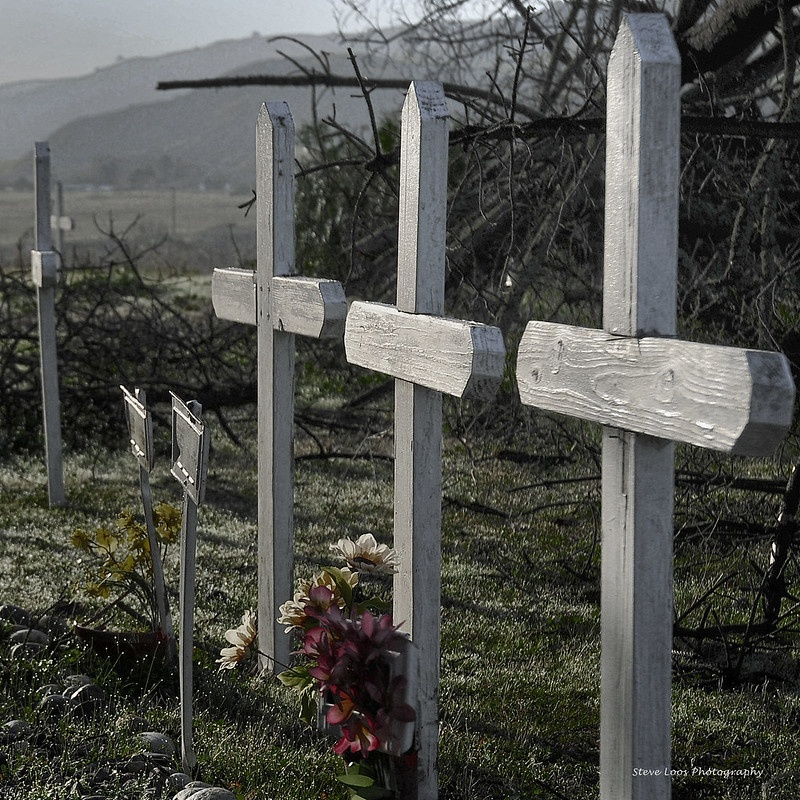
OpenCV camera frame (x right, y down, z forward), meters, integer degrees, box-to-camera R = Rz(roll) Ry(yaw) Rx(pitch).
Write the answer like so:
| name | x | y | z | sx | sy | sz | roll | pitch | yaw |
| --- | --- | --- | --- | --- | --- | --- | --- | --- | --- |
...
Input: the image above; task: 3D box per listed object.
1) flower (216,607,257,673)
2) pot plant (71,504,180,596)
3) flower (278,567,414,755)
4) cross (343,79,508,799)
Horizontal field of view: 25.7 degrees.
| name | x | y | z | sx | sy | sz | roll | pitch | yaw |
| --- | --- | --- | --- | --- | --- | --- | --- | --- | --- |
| flower | -0.552 | 0.875 | 6.339 | 0.064 | 0.231 | 0.199 | -8 | -19 | 20 |
| pot plant | -1.158 | 0.651 | 7.445 | 0.287 | 0.293 | 0.259 | -28 | -30 | 29 |
| flower | -0.175 | 0.918 | 5.939 | 0.454 | 0.634 | 0.346 | 1 | 3 | -6 |
| cross | 0.080 | 0.149 | 6.143 | 0.357 | 2.487 | 0.788 | 0 | 3 | -16 |
